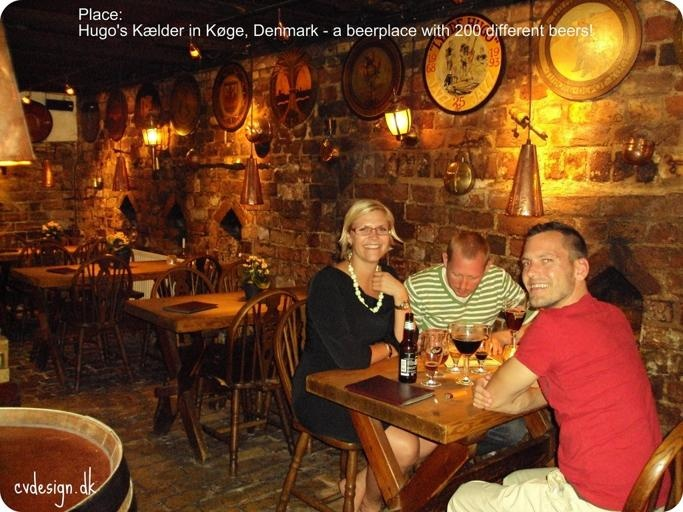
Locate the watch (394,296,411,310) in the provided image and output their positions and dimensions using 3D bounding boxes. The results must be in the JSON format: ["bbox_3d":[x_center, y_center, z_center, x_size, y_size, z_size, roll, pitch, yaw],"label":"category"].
[{"bbox_3d":[0.335,0.271,2.860,0.064,0.032,0.068,-38,-31,27],"label":"watch"}]

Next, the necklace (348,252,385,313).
[{"bbox_3d":[0.138,0.153,2.800,0.189,0.256,0.040,7,-31,-42],"label":"necklace"}]

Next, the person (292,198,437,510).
[{"bbox_3d":[0.048,0.317,2.801,0.446,1.242,0.743,4,6,39],"label":"person"}]

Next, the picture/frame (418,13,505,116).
[{"bbox_3d":[1.002,-1.568,4.203,0.046,0.989,0.987,-6,4,-42],"label":"picture/frame"}]

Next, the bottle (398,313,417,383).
[{"bbox_3d":[0.304,0.405,2.368,0.085,0.325,0.191,1,4,8],"label":"bottle"}]

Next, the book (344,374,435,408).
[{"bbox_3d":[0.211,0.578,2.218,0.319,0.032,0.253,3,4,43],"label":"book"}]

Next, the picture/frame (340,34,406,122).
[{"bbox_3d":[0.311,-1.664,4.815,0.059,0.864,0.848,-2,21,-39],"label":"picture/frame"}]

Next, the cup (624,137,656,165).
[{"bbox_3d":[1.904,-0.675,3.346,0.183,0.150,0.160,3,2,25],"label":"cup"}]

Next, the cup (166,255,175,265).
[{"bbox_3d":[-2.009,0.054,6.213,0.134,0.127,0.137,1,-3,0],"label":"cup"}]

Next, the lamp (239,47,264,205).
[{"bbox_3d":[-1.008,-1.468,5.841,0.248,1.796,0.913,0,4,-9],"label":"lamp"}]

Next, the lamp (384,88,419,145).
[{"bbox_3d":[0.501,-1.231,4.520,0.293,0.504,0.329,3,5,31],"label":"lamp"}]

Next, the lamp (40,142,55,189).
[{"bbox_3d":[-5.344,-1.693,9.432,0.201,0.866,0.207,13,16,43],"label":"lamp"}]

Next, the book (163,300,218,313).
[{"bbox_3d":[-1.157,0.386,3.924,0.351,0.035,0.488,1,4,44],"label":"book"}]
